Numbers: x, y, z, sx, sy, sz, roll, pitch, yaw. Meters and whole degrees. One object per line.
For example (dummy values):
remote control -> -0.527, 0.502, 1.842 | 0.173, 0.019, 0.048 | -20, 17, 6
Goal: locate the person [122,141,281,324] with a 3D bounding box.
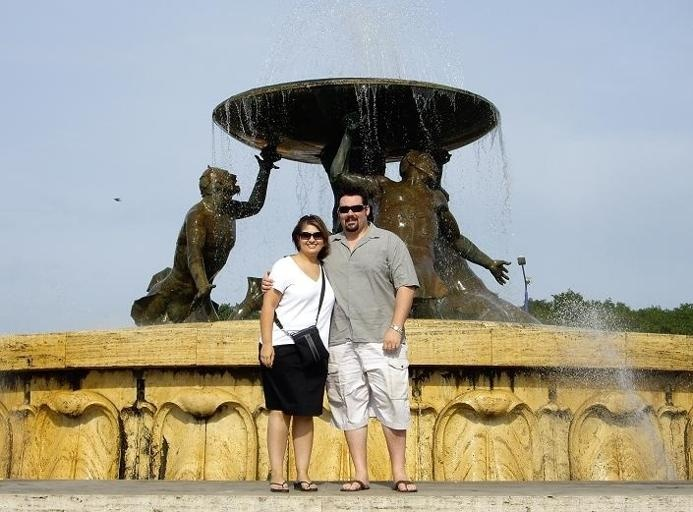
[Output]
person -> -1.784, -0.122, 19.921 | 1.050, 1.771, 1.064 | -4, -17, 9

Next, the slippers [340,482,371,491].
slippers -> 0.069, 1.922, 15.046 | 0.085, 0.057, 0.227 | -6, -14, 35

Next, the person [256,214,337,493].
person -> -0.423, 0.827, 15.143 | 0.641, 2.238, 0.447 | -4, -17, 9

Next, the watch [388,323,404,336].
watch -> 0.405, 0.647, 15.168 | 0.102, 0.069, 0.104 | 35, 0, -19
